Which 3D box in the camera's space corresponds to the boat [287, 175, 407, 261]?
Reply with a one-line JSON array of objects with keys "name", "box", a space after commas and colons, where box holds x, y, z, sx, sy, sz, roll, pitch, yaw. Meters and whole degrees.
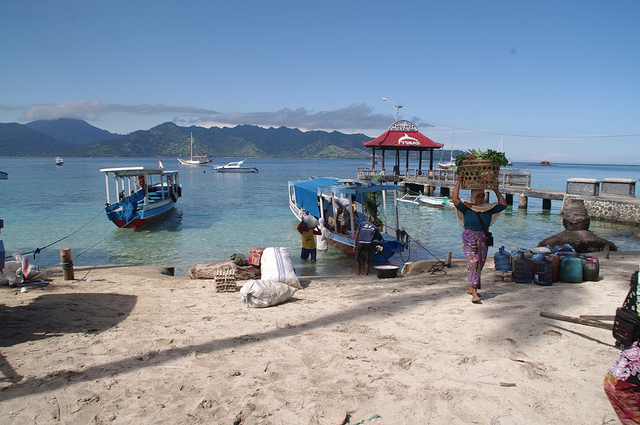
[{"name": "boat", "box": [1.676, -0.378, 20.224, 2.966, 3.223, 10.563, -4, 13, -24]}]

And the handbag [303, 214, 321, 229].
[{"name": "handbag", "box": [-0.336, 0.360, 16.104, 0.605, 0.376, 0.325, 17, 14, -24]}]

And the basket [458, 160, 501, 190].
[{"name": "basket", "box": [3.648, -0.875, 9.648, 0.787, 0.476, 0.746, -2, 2, -33]}]

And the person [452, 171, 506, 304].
[{"name": "person", "box": [3.670, 0.731, 9.687, 1.131, 2.849, 0.599, 0, 6, 17]}]

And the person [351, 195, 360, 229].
[{"name": "person", "box": [1.531, -0.090, 18.239, 0.342, 1.083, 0.665, 3, 2, 9]}]

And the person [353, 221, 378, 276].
[{"name": "person", "box": [1.560, 1.254, 14.436, 0.682, 1.953, 1.160, -2, 5, -2]}]

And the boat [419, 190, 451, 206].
[{"name": "boat", "box": [9.676, -1.066, 35.504, 0.662, 0.659, 2.404, -1, 13, -34]}]

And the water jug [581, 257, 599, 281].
[{"name": "water jug", "box": [7.204, 1.513, 11.165, 0.396, 0.554, 0.415, 1, 6, 28]}]

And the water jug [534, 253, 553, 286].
[{"name": "water jug", "box": [5.896, 1.464, 11.003, 0.548, 0.764, 0.542, -7, 8, -34]}]

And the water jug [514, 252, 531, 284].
[{"name": "water jug", "box": [5.395, 1.523, 11.137, 0.399, 0.717, 0.213, 1, 6, 24]}]
